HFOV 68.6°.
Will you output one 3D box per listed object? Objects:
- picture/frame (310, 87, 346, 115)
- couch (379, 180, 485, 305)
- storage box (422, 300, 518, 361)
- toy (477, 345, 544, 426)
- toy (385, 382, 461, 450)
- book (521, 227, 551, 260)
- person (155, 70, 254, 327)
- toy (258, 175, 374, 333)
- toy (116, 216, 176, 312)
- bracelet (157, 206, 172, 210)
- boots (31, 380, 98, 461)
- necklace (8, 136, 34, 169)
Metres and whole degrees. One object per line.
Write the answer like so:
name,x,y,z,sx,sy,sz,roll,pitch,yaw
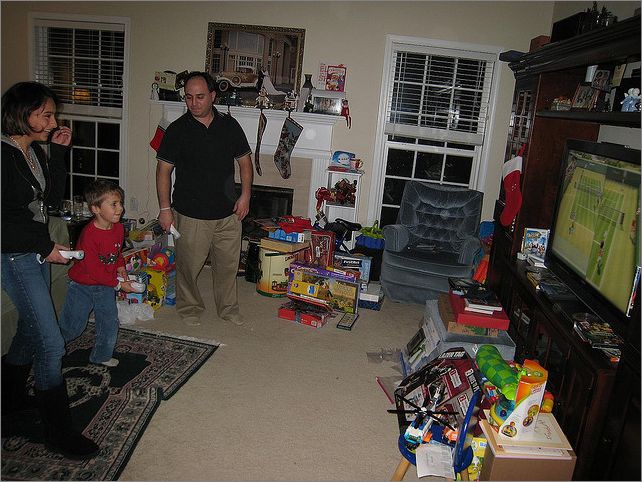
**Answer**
picture/frame,0.077,-1.650,5.550,0.463,0.325,0.286,5,15,3
couch,1.186,0.029,5.021,1.073,1.231,1.080,16,16,42
storage box,1.048,0.689,3.549,0.409,0.277,0.421,1,4,0
toy,1.010,0.766,2.583,0.203,0.251,0.425,11,11,-8
toy,0.607,0.993,2.654,0.304,0.190,0.460,8,11,35
book,1.796,0.025,3.906,0.221,0.306,0.041,9,1,9
person,-0.978,-0.180,4.004,0.761,1.858,0.387,0,15,-10
toy,0.071,0.238,4.776,0.926,0.820,1.303,2,15,-2
toy,-1.545,0.232,4.433,0.295,0.899,0.643,4,4,-38
bracelet,-1.264,-0.267,3.785,0.079,0.033,0.060,0,15,-12
boots,-1.456,1.053,2.712,0.343,0.386,0.182,8,16,7
necklace,-1.636,-0.486,2.574,0.096,0.134,0.032,18,44,21
